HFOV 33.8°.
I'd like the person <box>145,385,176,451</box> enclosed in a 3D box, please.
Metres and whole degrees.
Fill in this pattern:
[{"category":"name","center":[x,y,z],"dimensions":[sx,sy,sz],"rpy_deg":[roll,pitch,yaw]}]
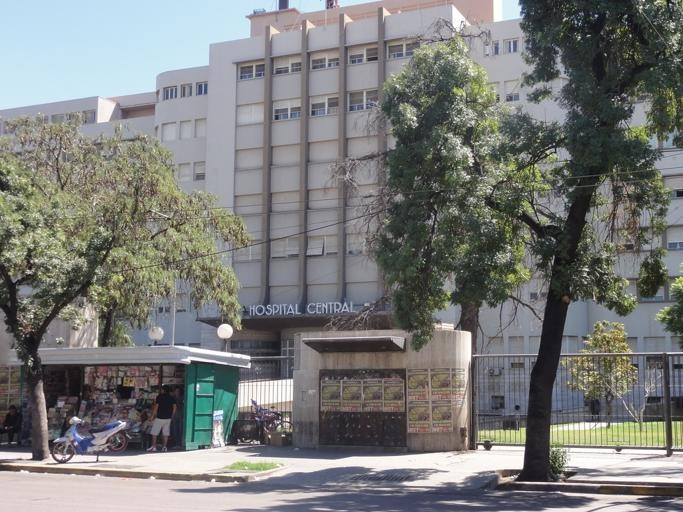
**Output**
[{"category":"person","center":[-6.292,5.764,39.675],"dimensions":[0.694,2.268,0.781],"rpy_deg":[9,-7,-41]}]
